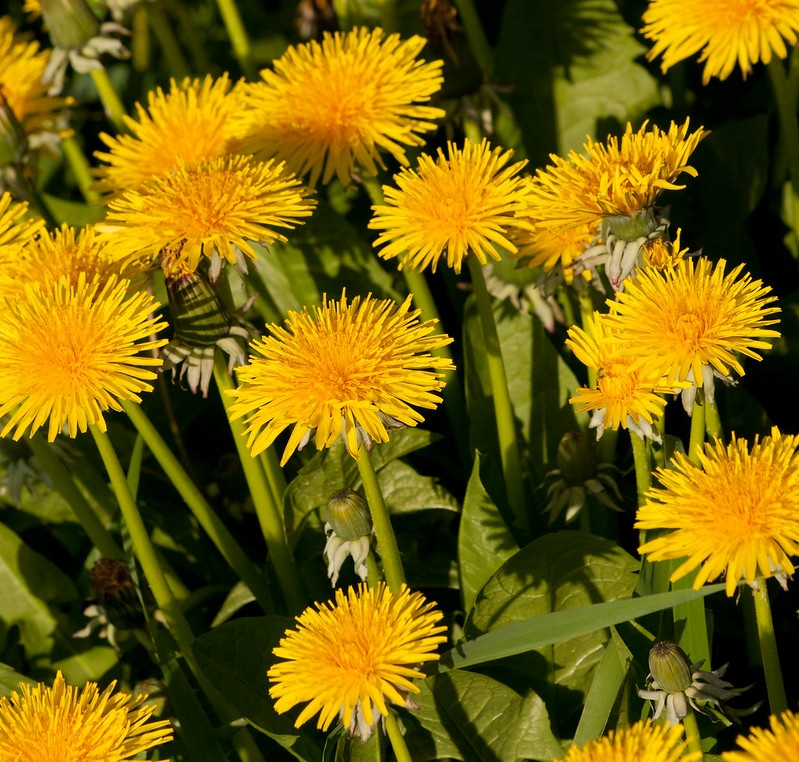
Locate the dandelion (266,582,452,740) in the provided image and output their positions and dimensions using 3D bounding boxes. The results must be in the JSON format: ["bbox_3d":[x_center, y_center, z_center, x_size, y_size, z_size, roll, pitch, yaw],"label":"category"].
[{"bbox_3d":[-0.029,0.199,0.713,0.139,0.067,0.133,10,21,40],"label":"dandelion"}]

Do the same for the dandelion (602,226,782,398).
[{"bbox_3d":[0.251,-0.058,0.784,0.148,0.075,0.158,-33,27,-27],"label":"dandelion"}]
